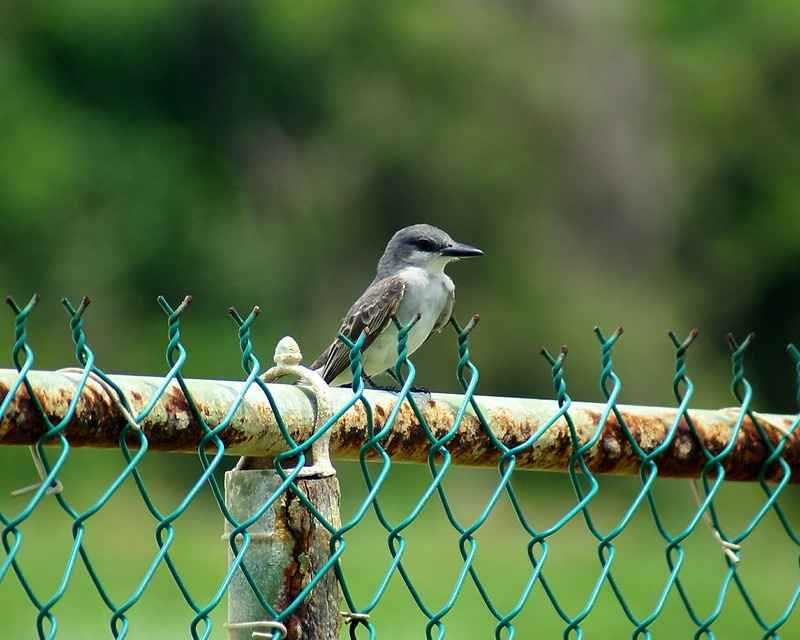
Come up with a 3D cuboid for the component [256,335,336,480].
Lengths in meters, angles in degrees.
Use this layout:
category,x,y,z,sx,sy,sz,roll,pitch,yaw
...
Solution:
category,x,y,z,sx,sy,sz,roll,pitch,yaw
component,-0.435,0.387,6.268,0.260,0.546,0.470,-32,-56,22
